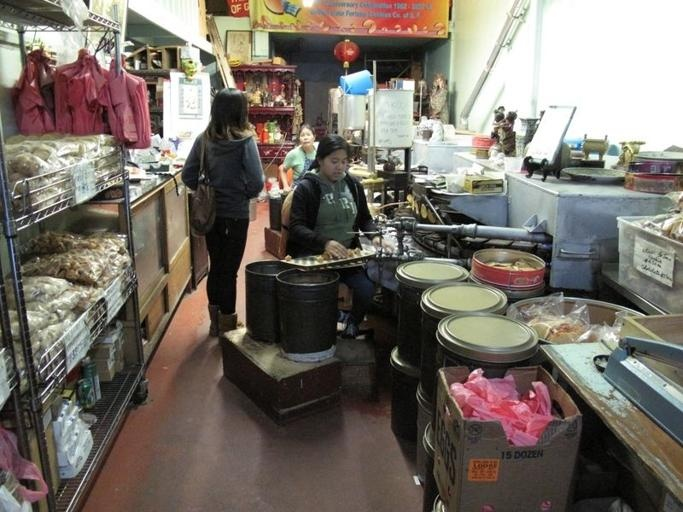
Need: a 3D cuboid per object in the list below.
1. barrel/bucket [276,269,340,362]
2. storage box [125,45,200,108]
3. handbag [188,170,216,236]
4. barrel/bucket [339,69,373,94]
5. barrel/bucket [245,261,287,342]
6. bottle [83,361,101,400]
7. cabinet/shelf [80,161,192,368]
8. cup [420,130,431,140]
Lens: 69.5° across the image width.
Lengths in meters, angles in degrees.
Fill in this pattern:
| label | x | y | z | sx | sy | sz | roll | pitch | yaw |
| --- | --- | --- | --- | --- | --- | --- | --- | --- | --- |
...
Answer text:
| label | x | y | z | sx | sy | sz | roll | pitch | yaw |
| --- | --- | --- | --- | --- | --- | --- | --- | --- | --- |
| barrel/bucket | -0.149 | 0.319 | 3.143 | 0.460 | 0.548 | 0.471 | 1 | 14 | 0 |
| storage box | -2.461 | -2.441 | 6.717 | 0.821 | 0.846 | 1.905 | -7 | 22 | -23 |
| handbag | -1.011 | -0.355 | 3.593 | 0.179 | 0.459 | 0.226 | -3 | 20 | -12 |
| barrel/bucket | 0.223 | -2.479 | 7.008 | 0.402 | 0.298 | 0.464 | 0 | 20 | -5 |
| barrel/bucket | -0.484 | 0.284 | 3.359 | 0.436 | 0.506 | 0.432 | 2 | 13 | 0 |
| bottle | -1.432 | 0.702 | 2.827 | 0.067 | 0.254 | 0.178 | -8 | 22 | -25 |
| cabinet/shelf | -1.661 | 0.016 | 3.968 | 0.573 | 1.237 | 1.664 | 1 | 17 | -4 |
| cup | 1.024 | -1.469 | 6.060 | 0.120 | 0.136 | 0.119 | 1 | -2 | 0 |
